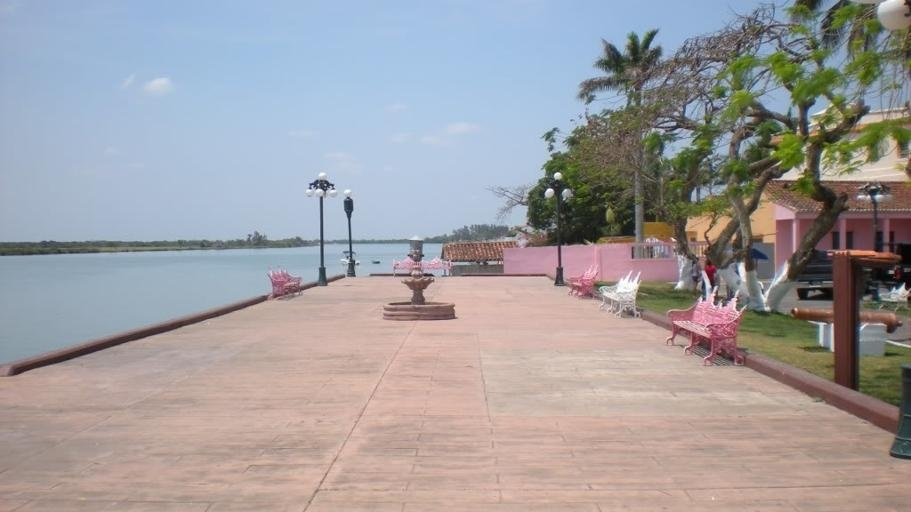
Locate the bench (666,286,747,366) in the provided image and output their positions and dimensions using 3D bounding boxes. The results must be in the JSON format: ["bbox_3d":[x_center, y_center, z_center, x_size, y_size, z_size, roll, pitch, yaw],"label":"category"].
[{"bbox_3d":[6.892,1.960,20.519,1.140,1.703,2.105,-3,7,-20],"label":"bench"}]

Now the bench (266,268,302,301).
[{"bbox_3d":[-7.140,1.080,31.189,1.132,1.179,2.412,-1,6,-8],"label":"bench"}]

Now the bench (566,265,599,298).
[{"bbox_3d":[5.224,1.034,30.540,0.980,1.276,1.346,0,6,6],"label":"bench"}]

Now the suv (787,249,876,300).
[{"bbox_3d":[16.817,1.173,33.343,3.490,2.272,6.483,0,3,29],"label":"suv"}]
